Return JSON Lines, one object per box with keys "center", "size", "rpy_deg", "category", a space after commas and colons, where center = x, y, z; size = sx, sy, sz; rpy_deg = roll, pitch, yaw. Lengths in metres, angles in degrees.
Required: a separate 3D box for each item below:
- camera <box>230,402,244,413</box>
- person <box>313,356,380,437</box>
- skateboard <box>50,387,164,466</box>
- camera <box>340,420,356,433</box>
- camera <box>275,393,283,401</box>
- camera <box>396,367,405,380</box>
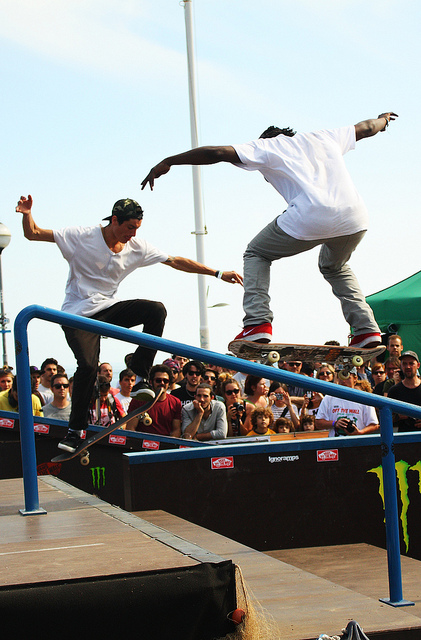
{"center": [0.258, 0.844, 7.125], "size": [0.098, 0.081, 0.100], "rpy_deg": [2, -1, 43], "category": "camera"}
{"center": [1.204, 0.777, 6.613], "size": [0.569, 0.744, 0.468], "rpy_deg": [-1, -1, 14], "category": "person"}
{"center": [-0.850, 0.880, 6.028], "size": [1.242, 0.189, 0.253], "rpy_deg": [-30, 9, -4], "category": "skateboard"}
{"center": [1.190, 0.911, 6.357], "size": [0.101, 0.081, 0.083], "rpy_deg": [10, 8, -2], "category": "camera"}
{"center": [0.733, 0.810, 7.906], "size": [0.110, 0.087, 0.030], "rpy_deg": [-1, 2, 5], "category": "camera"}
{"center": [2.029, 0.564, 7.813], "size": [0.041, 0.144, 0.120], "rpy_deg": [-4, -13, 30], "category": "camera"}
